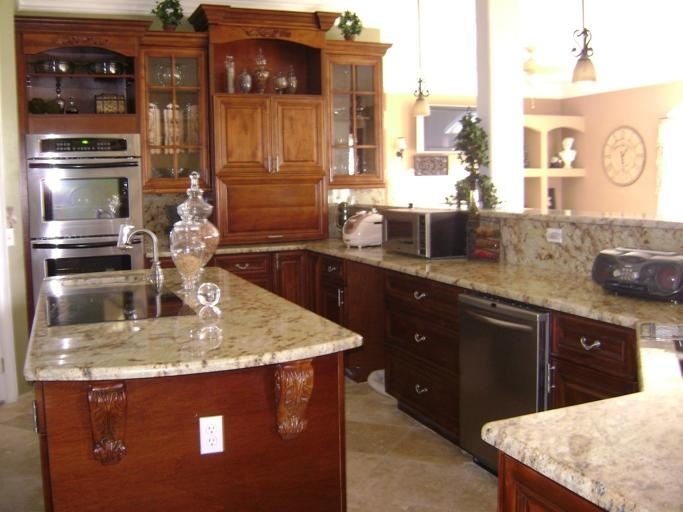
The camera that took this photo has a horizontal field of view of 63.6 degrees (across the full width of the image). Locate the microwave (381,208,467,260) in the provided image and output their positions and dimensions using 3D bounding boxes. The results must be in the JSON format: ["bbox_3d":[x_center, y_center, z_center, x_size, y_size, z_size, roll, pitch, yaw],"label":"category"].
[{"bbox_3d":[0.584,-0.169,4.059,0.302,0.352,0.702,-9,11,-41],"label":"microwave"}]

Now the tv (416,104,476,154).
[{"bbox_3d":[1.913,-2.333,10.202,1.171,0.829,0.125,2,21,20],"label":"tv"}]

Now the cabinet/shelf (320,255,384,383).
[{"bbox_3d":[0.089,0.488,4.714,0.648,0.847,0.614,4,-2,9],"label":"cabinet/shelf"}]

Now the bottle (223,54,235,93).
[{"bbox_3d":[-1.052,-1.720,5.215,0.102,0.398,0.353,-3,9,-9],"label":"bottle"}]

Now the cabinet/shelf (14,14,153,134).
[{"bbox_3d":[-2.208,-1.405,4.777,1.014,1.033,0.395,-16,9,-34],"label":"cabinet/shelf"}]

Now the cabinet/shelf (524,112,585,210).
[{"bbox_3d":[3.850,-1.680,10.045,0.902,1.673,1.338,6,12,42],"label":"cabinet/shelf"}]

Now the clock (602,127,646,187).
[{"bbox_3d":[4.811,-1.680,9.344,0.114,1.050,1.091,-2,6,-24],"label":"clock"}]

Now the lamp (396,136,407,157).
[{"bbox_3d":[1.082,-1.951,9.972,0.188,0.382,0.303,0,9,9],"label":"lamp"}]

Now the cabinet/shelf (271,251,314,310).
[{"bbox_3d":[-0.529,0.322,5.242,0.368,0.636,0.378,-12,12,-30],"label":"cabinet/shelf"}]

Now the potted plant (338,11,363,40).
[{"bbox_3d":[0.087,-2.221,5.370,0.279,0.277,0.264,4,5,8],"label":"potted plant"}]

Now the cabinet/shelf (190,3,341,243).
[{"bbox_3d":[-0.712,-1.204,5.307,1.249,2.116,0.511,-4,9,-18],"label":"cabinet/shelf"}]

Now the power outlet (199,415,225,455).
[{"bbox_3d":[-0.466,0.643,1.984,0.086,0.139,0.019,-4,9,-18],"label":"power outlet"}]

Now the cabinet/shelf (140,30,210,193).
[{"bbox_3d":[-1.592,-1.265,5.067,0.670,1.342,0.390,-9,21,-36],"label":"cabinet/shelf"}]

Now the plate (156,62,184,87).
[{"bbox_3d":[-1.543,-1.627,4.934,0.251,0.221,0.057,3,5,-21],"label":"plate"}]

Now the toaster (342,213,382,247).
[{"bbox_3d":[0.203,-0.240,4.851,0.314,0.290,0.402,13,18,43],"label":"toaster"}]
